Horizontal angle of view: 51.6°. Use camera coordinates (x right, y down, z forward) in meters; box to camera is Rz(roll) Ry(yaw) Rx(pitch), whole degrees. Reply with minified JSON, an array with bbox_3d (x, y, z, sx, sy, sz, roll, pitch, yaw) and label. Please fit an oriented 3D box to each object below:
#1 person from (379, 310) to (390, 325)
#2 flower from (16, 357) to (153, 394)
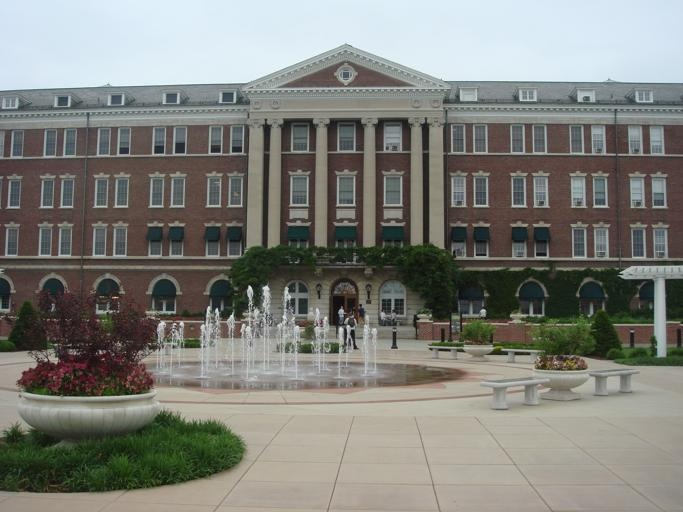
[{"bbox_3d":[3.332,4.715,53.448,0.728,1.011,2.066,-1,-6,3],"label":"person"},{"bbox_3d":[-4.724,2.275,13.276,2.286,0.644,0.864,1,-6,-17],"label":"flower"}]
